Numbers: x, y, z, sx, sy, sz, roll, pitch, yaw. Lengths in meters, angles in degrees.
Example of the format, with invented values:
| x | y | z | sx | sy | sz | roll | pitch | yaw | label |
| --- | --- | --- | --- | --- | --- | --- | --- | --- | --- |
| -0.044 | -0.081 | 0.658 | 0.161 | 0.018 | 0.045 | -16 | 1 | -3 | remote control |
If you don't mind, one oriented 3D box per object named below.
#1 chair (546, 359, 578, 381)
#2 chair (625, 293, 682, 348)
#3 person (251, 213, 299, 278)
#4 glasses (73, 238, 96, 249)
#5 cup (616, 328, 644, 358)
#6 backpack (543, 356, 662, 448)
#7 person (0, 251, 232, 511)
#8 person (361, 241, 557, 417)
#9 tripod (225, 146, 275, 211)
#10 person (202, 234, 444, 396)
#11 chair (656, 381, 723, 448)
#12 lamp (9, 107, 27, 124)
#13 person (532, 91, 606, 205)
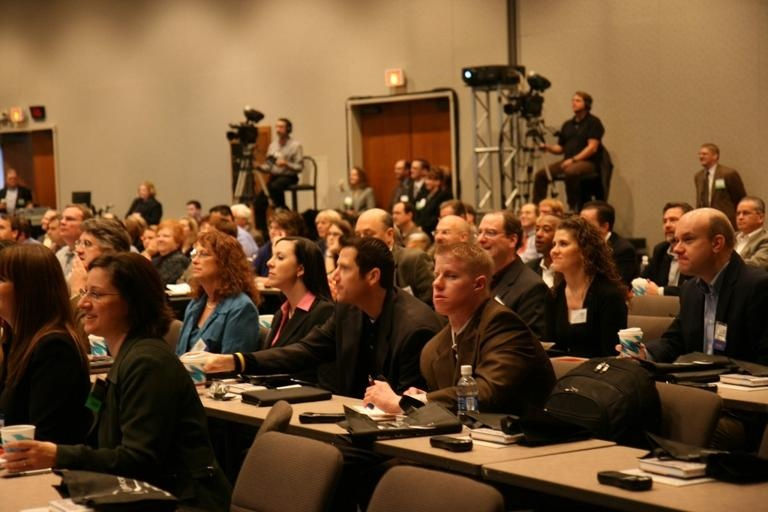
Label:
| x | y | z | sx | sy | sz | roll | pitch | yaw | label |
| --- | --- | --- | --- | --- | --- | --- | --- | --- | --- |
| 1.061 | 0.654 | 4.180 | 0.128 | 0.111 | 0.130 | -3 | 2 | -4 | chair |
| 2.260 | 0.537 | 5.966 | 0.426 | 0.589 | 0.470 | -1 | -9 | 19 | chair |
| -1.520 | -0.297 | 9.667 | 0.554 | 0.478 | 1.329 | -7 | -4 | -1 | person |
| -2.641 | -0.112 | 6.264 | 0.138 | 0.044 | 0.140 | -4 | -9 | 31 | glasses |
| 1.577 | 0.551 | 4.531 | 0.102 | 0.179 | 0.173 | 1 | 5 | 38 | cup |
| 1.111 | 0.679 | 3.626 | 0.499 | 0.547 | 0.400 | 1 | -1 | -41 | backpack |
| -1.306 | 0.717 | 3.897 | 1.133 | 1.471 | 0.960 | 1 | -14 | -19 | person |
| 0.422 | 0.400 | 4.035 | 1.138 | 0.965 | 0.874 | 0 | -4 | -28 | person |
| -2.728 | -1.593 | 14.428 | 0.685 | 1.126 | 1.625 | -3 | 4 | -12 | tripod |
| -0.392 | 0.447 | 4.791 | 1.454 | 1.385 | 0.863 | 3 | -8 | -23 | person |
| 1.434 | 0.757 | 3.359 | 0.233 | 0.307 | 0.251 | -6 | -10 | 41 | chair |
| -8.639 | -3.282 | 16.698 | 0.395 | 0.403 | 0.404 | -1 | -3 | 45 | lamp |
| 3.058 | -1.716 | 11.612 | 1.061 | 1.909 | 0.731 | -1 | 4 | 17 | person |
